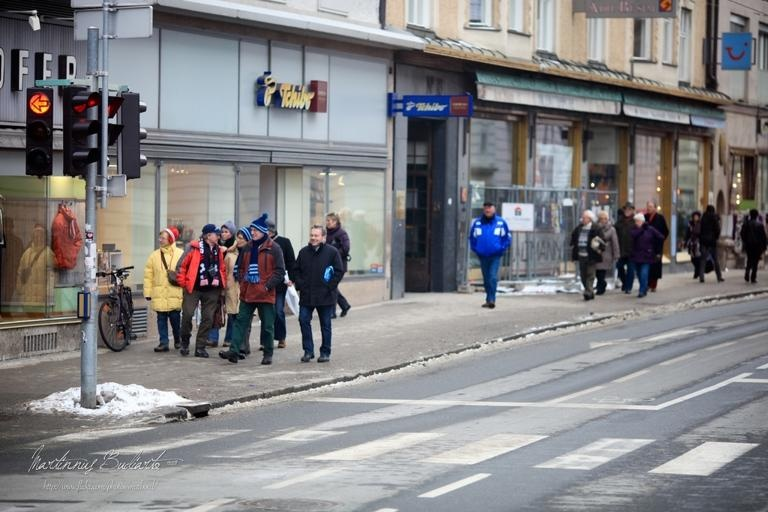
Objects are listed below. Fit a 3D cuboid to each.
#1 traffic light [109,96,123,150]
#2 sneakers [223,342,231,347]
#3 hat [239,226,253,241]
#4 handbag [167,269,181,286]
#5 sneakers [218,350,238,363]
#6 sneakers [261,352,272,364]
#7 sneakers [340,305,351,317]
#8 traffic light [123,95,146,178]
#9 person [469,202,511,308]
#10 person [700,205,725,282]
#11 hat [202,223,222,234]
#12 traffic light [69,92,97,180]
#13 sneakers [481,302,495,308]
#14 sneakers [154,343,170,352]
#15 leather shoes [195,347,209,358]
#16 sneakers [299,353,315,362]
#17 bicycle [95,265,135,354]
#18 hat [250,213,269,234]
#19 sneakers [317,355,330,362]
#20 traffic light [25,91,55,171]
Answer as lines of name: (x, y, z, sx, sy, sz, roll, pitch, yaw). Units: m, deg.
traffic light: (-4.396, -2.202, 23.112, 0.234, 0.796, 0.451, -1, 9, -9)
sneakers: (-3.060, 1.702, 27.499, 0.111, 0.117, 0.267, 1, -8, 1)
hat: (-2.608, -0.423, 26.863, 0.185, 0.202, 0.247, -19, 51, -41)
handbag: (-4.039, 0.422, 26.954, 0.267, 0.286, 0.111, -3, 0, 6)
sneakers: (-2.842, 1.837, 26.048, 0.408, 0.195, 0.154, 20, -1, -2)
sneakers: (-2.163, 1.877, 26.067, 0.190, 0.202, 0.466, 0, -4, 1)
sneakers: (-0.879, 1.239, 31.395, 0.143, 0.335, 0.122, 28, 35, -16)
traffic light: (-4.210, -1.987, 23.404, 0.329, 1.380, 0.523, -2, 9, -11)
person: (2.471, 0.011, 32.885, 0.802, 2.386, 1.098, -2, 9, -13)
person: (8.922, -0.285, 38.832, 0.668, 2.130, 1.273, 2, 9, 13)
hat: (-3.304, -0.511, 26.898, 0.282, 0.154, 0.176, -11, 14, -12)
traffic light: (-4.796, -1.960, 22.780, 0.490, 1.333, 0.391, -2, 9, -12)
sneakers: (2.383, 1.136, 32.673, 0.307, 0.143, 0.118, 4, 2, 32)
sneakers: (-4.254, 1.767, 27.169, 0.310, 0.140, 0.118, 2, 1, 19)
leather shoes: (-3.430, 1.829, 26.614, 0.119, 0.130, 0.311, 1, -5, -40)
sneakers: (-1.431, 1.892, 26.356, 0.100, 0.138, 0.289, -2, -5, 23)
bicycle: (-5.186, 1.051, 27.212, 0.467, 1.528, 0.954, 1, 9, 5)
hat: (-2.316, -0.611, 26.241, 0.307, 0.363, 0.322, -2, 9, -14)
sneakers: (-1.130, 1.894, 26.259, 0.215, 0.124, 0.189, -1, 9, -7)
traffic light: (-5.567, -2.000, 22.889, 0.443, 1.380, 0.474, -2, 9, -11)
